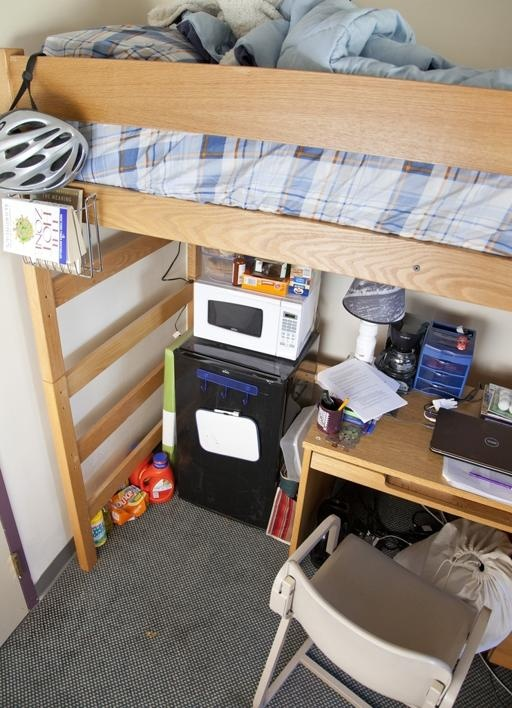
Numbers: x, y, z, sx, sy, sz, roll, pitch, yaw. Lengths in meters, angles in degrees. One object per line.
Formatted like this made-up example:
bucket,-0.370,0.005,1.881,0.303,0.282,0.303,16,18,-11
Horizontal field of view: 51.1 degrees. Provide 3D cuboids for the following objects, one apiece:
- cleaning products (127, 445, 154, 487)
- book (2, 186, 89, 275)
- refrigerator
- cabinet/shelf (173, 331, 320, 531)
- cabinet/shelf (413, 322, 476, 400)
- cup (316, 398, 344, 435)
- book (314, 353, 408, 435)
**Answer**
cleaning products,-0.511,0.524,2.406,0.048,0.096,0.135,4,71,23
book,-0.526,-0.317,1.337,0.196,0.137,0.072,17,44,23
refrigerator,-0.037,0.261,2.323,0.482,0.725,0.527,13,33,20
cabinet/shelf,-0.028,0.287,2.065,0.440,0.745,0.546,16,42,16
cabinet/shelf,0.682,-0.020,2.046,0.200,0.269,0.280,16,40,15
cup,0.238,0.191,1.794,0.095,0.118,0.115,6,44,7
book,0.365,0.120,1.869,0.234,0.067,0.233,-23,48,-33
